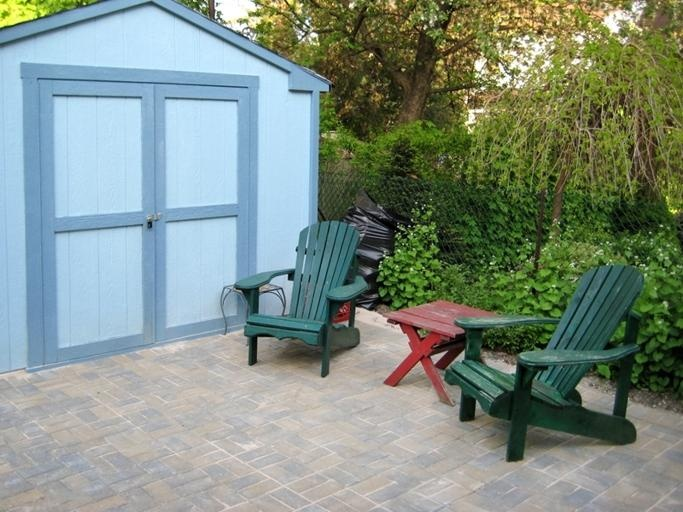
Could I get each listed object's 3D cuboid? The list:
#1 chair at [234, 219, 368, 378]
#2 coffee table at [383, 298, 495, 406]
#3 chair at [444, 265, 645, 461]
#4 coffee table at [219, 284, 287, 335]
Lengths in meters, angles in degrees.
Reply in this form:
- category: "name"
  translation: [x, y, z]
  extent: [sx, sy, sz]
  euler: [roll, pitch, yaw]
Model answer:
- category: "chair"
  translation: [-0.323, 0.364, 5.784]
  extent: [1.219, 1.051, 1.350]
  euler: [9, 18, 24]
- category: "coffee table"
  translation: [0.940, 0.763, 5.390]
  extent: [0.939, 0.597, 0.955]
  euler: [11, 15, 42]
- category: "chair"
  translation: [1.559, 0.786, 4.538]
  extent: [1.463, 1.059, 1.171]
  euler: [-5, 13, -15]
- category: "coffee table"
  translation: [-1.004, 0.543, 6.628]
  extent: [0.689, 0.545, 0.638]
  euler: [2, 0, 42]
